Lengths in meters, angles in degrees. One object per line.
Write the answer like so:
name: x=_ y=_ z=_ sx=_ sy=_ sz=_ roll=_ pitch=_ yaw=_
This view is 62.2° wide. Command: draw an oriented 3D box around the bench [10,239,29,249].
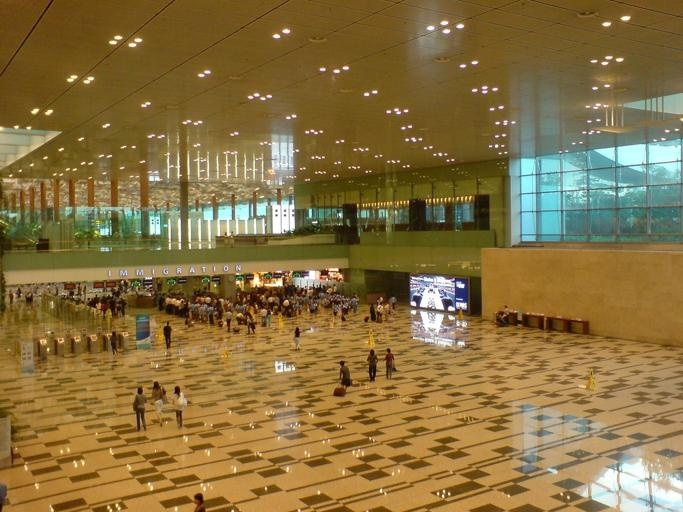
bench: x=-16.945 y=-0.580 z=29.810 sx=0.215 sy=0.499 sz=1.001 roll=0 pitch=3 yaw=22

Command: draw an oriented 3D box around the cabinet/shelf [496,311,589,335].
cabinet/shelf: x=10.524 y=3.447 z=29.930 sx=0.979 sy=0.800 sz=4.938 roll=-4 pitch=4 yaw=-38

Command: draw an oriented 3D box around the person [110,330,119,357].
person: x=-10.321 y=3.913 z=25.673 sx=0.328 sy=0.967 sz=1.234 roll=-3 pitch=3 yaw=-22

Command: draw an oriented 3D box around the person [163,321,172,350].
person: x=-8.290 y=3.673 z=26.950 sx=0.343 sy=1.218 sz=2.004 roll=-2 pitch=3 yaw=-17

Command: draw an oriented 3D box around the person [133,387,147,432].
person: x=-5.713 y=4.171 z=15.983 sx=0.306 sy=1.175 sz=1.026 roll=-2 pitch=3 yaw=-20

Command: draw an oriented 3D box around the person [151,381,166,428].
person: x=-5.344 y=4.177 z=16.655 sx=0.384 sy=1.168 sz=1.477 roll=-2 pitch=3 yaw=-18

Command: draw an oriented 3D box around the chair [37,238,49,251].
chair: x=-16.219 y=-0.610 z=30.753 sx=0.648 sy=0.687 sz=0.319 roll=-3 pitch=3 yaw=-23

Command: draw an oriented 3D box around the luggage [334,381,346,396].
luggage: x=-0.061 y=4.280 z=18.378 sx=0.402 sy=0.447 sz=0.266 roll=7 pitch=17 yaw=27

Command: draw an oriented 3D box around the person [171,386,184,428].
person: x=-4.571 y=4.141 z=16.002 sx=0.274 sy=1.183 sz=0.992 roll=-2 pitch=3 yaw=-16
